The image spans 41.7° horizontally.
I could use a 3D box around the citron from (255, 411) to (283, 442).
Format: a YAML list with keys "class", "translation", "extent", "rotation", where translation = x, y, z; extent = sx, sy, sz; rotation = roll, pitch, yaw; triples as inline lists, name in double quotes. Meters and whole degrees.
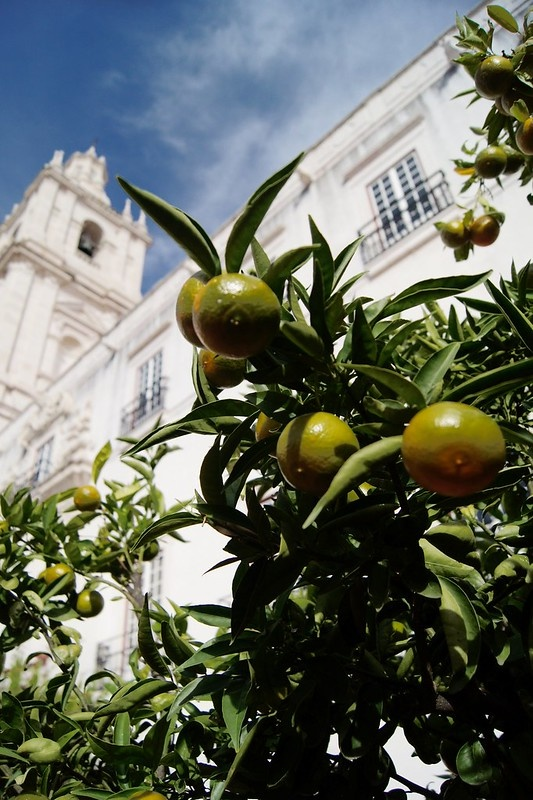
- class: "citron"
  translation: [0.003, 0.037, 0.938]
  extent: [0.031, 0.039, 0.029]
  rotation: [-2, -80, 3]

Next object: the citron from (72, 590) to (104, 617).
- class: "citron"
  translation: [-0.399, 0.459, 1.614]
  extent: [0.067, 0.070, 0.064]
  rotation: [2, 2, 2]

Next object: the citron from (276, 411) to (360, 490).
- class: "citron"
  translation: [0.052, 0.054, 0.796]
  extent: [0.089, 0.082, 0.102]
  rotation: [-6, 6, 28]

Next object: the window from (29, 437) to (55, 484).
- class: "window"
  translation: [-3.259, 0.896, 10.190]
  extent: [0.031, 0.648, 0.485]
  rotation: [34, -70, -25]

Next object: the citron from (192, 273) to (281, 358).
- class: "citron"
  translation: [-0.025, -0.091, 0.777]
  extent: [0.096, 0.105, 0.082]
  rotation: [3, -72, 6]

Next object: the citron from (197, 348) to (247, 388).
- class: "citron"
  translation: [-0.052, -0.042, 0.898]
  extent: [0.054, 0.060, 0.051]
  rotation: [11, -41, -19]

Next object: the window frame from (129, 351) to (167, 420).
- class: "window frame"
  translation: [-1.410, -0.147, 8.350]
  extent: [0.025, 0.725, 0.646]
  rotation: [29, -56, -27]

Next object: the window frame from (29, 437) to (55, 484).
- class: "window frame"
  translation: [-3.259, 0.896, 10.190]
  extent: [0.031, 0.648, 0.485]
  rotation: [34, -70, -25]

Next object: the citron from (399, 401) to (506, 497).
- class: "citron"
  translation: [0.195, 0.049, 0.752]
  extent: [0.103, 0.090, 0.115]
  rotation: [2, 0, 19]

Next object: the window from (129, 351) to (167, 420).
- class: "window"
  translation: [-1.410, -0.147, 8.350]
  extent: [0.025, 0.725, 0.646]
  rotation: [29, -56, -27]
